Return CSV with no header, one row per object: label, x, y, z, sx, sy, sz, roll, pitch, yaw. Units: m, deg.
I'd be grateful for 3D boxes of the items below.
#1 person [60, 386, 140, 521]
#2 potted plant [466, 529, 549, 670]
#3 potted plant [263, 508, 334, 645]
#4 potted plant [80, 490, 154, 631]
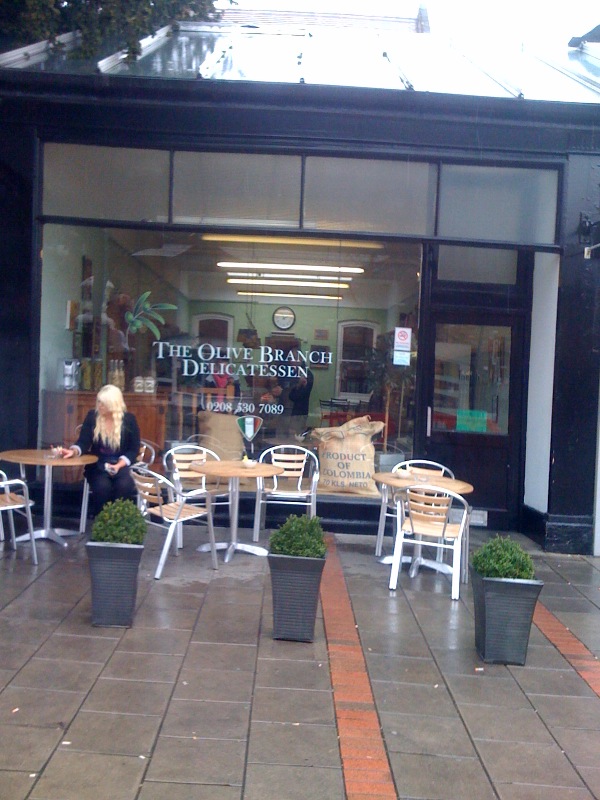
person,-1.621,0.536,5.767,0.505,1.273,0.708,1,11,-14
potted plant,1.058,1.036,3.605,0.337,0.680,0.327,3,0,16
potted plant,-0.018,0.963,3.787,0.385,0.641,0.394,1,4,-22
potted plant,-1.004,0.909,3.833,0.344,0.675,0.364,14,-21,-36
